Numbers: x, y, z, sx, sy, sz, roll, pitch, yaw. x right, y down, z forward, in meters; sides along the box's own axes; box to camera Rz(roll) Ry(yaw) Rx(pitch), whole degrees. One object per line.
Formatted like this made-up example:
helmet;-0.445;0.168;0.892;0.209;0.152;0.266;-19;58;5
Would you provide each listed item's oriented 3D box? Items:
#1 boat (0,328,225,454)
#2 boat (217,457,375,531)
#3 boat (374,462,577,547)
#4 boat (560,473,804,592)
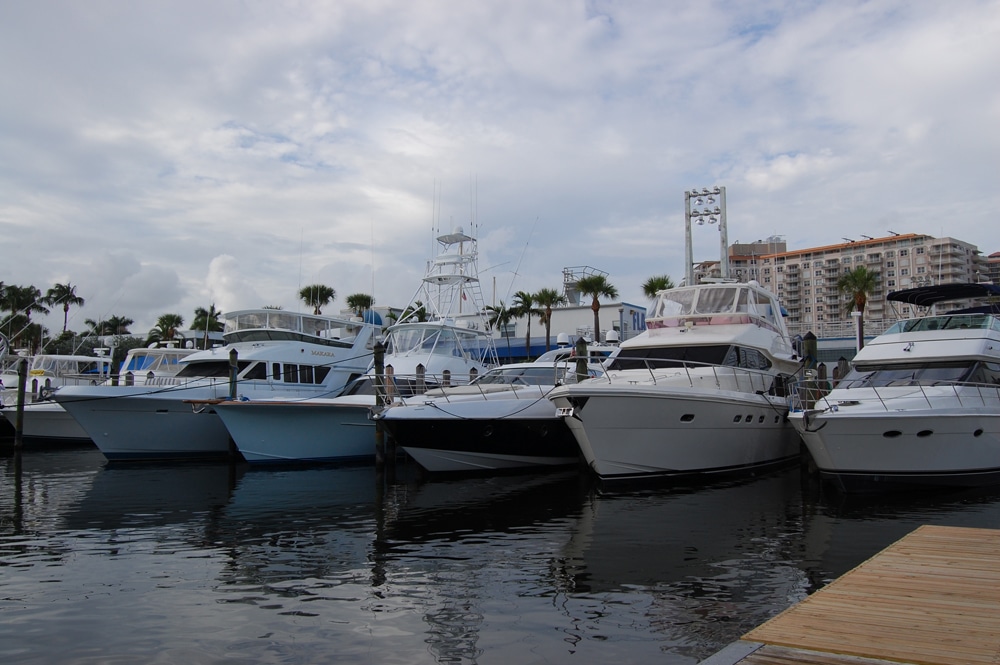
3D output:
boat;-13.984;2.494;32.438;10.144;3.174;3.954;-1;0;-31
boat;-4.686;3.894;19.187;3.310;0.376;6.431;-2;1;-10
boat;-0.104;4.007;18.417;1.483;1.262;6.795;-13;-23;35
boat;3.468;3.743;15.183;4.168;0.119;6.899;-1;2;18
